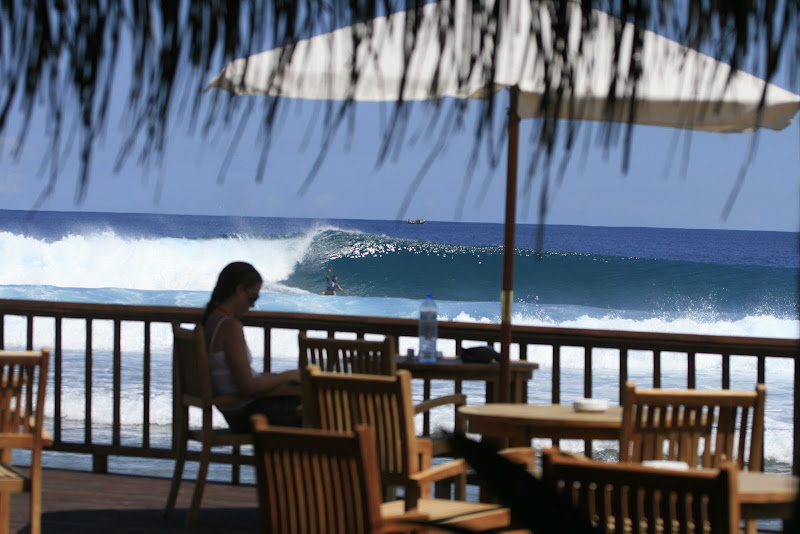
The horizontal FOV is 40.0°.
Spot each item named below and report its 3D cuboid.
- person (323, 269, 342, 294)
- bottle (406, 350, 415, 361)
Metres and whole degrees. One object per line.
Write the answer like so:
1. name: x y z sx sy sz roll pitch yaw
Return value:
1. person: -1.480 0.314 23.864 0.310 0.929 0.269 -8 -22 23
2. bottle: 0.047 0.401 5.059 0.041 0.071 0.040 1 -6 0
